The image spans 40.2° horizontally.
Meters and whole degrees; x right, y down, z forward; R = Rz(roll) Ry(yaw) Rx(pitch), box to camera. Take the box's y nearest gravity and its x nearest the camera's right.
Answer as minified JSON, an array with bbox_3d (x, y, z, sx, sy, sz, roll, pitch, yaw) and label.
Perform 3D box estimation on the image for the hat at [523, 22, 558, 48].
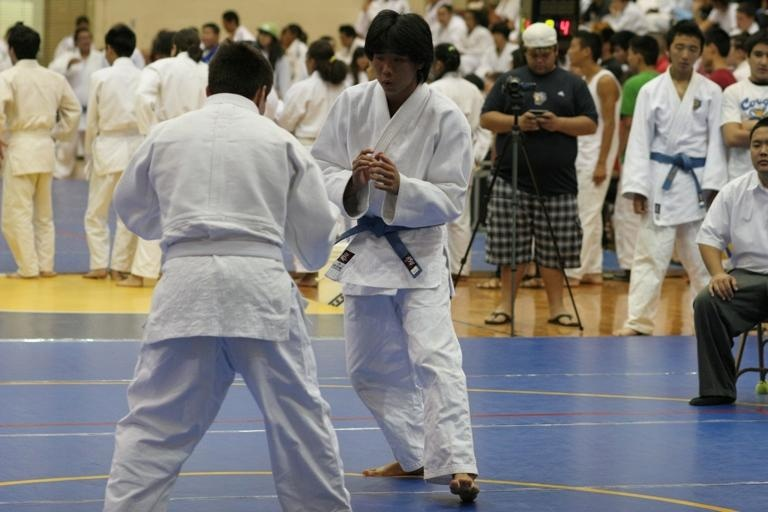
[{"bbox_3d":[1.188,-1.644,7.983,0.234,0.139,0.221,0,7,-1],"label":"hat"}]

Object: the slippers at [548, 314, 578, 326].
[{"bbox_3d":[1.429,0.510,8.209,0.096,0.046,0.182,-2,0,-42],"label":"slippers"}]
